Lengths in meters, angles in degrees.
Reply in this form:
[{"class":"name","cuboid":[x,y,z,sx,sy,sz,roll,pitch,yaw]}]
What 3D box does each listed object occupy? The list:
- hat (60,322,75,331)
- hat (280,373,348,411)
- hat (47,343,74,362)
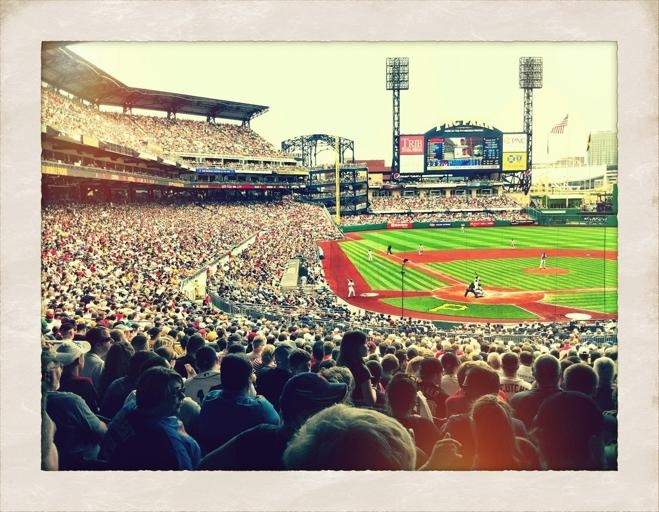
[{"class":"hat","cuboid":[-4.097,1.092,12.851,0.122,0.156,0.151,9,-25,11]},{"class":"hat","cuboid":[-0.181,1.543,9.275,0.616,0.312,0.406,-9,11,-8]},{"class":"hat","cuboid":[-3.565,1.296,10.934,0.293,0.256,0.266,-3,7,-19]}]
